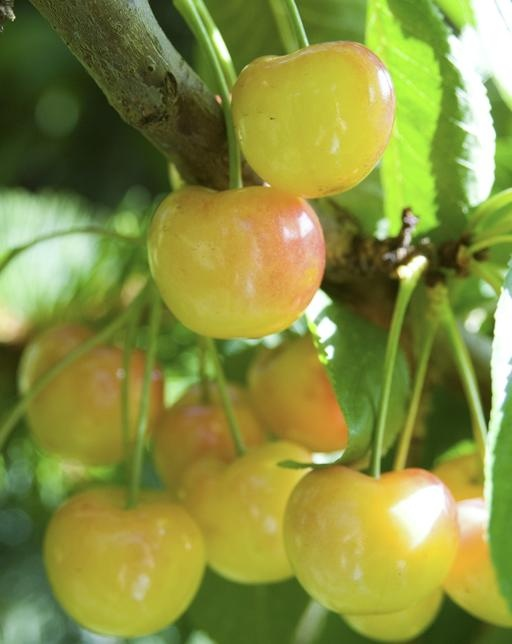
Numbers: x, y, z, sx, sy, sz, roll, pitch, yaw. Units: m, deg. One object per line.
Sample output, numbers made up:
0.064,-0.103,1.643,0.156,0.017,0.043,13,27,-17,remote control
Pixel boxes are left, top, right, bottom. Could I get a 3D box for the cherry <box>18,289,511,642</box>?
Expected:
0.009,0.081,0.329,0.216,0.149,0.129,-12,42,-6,cherry
